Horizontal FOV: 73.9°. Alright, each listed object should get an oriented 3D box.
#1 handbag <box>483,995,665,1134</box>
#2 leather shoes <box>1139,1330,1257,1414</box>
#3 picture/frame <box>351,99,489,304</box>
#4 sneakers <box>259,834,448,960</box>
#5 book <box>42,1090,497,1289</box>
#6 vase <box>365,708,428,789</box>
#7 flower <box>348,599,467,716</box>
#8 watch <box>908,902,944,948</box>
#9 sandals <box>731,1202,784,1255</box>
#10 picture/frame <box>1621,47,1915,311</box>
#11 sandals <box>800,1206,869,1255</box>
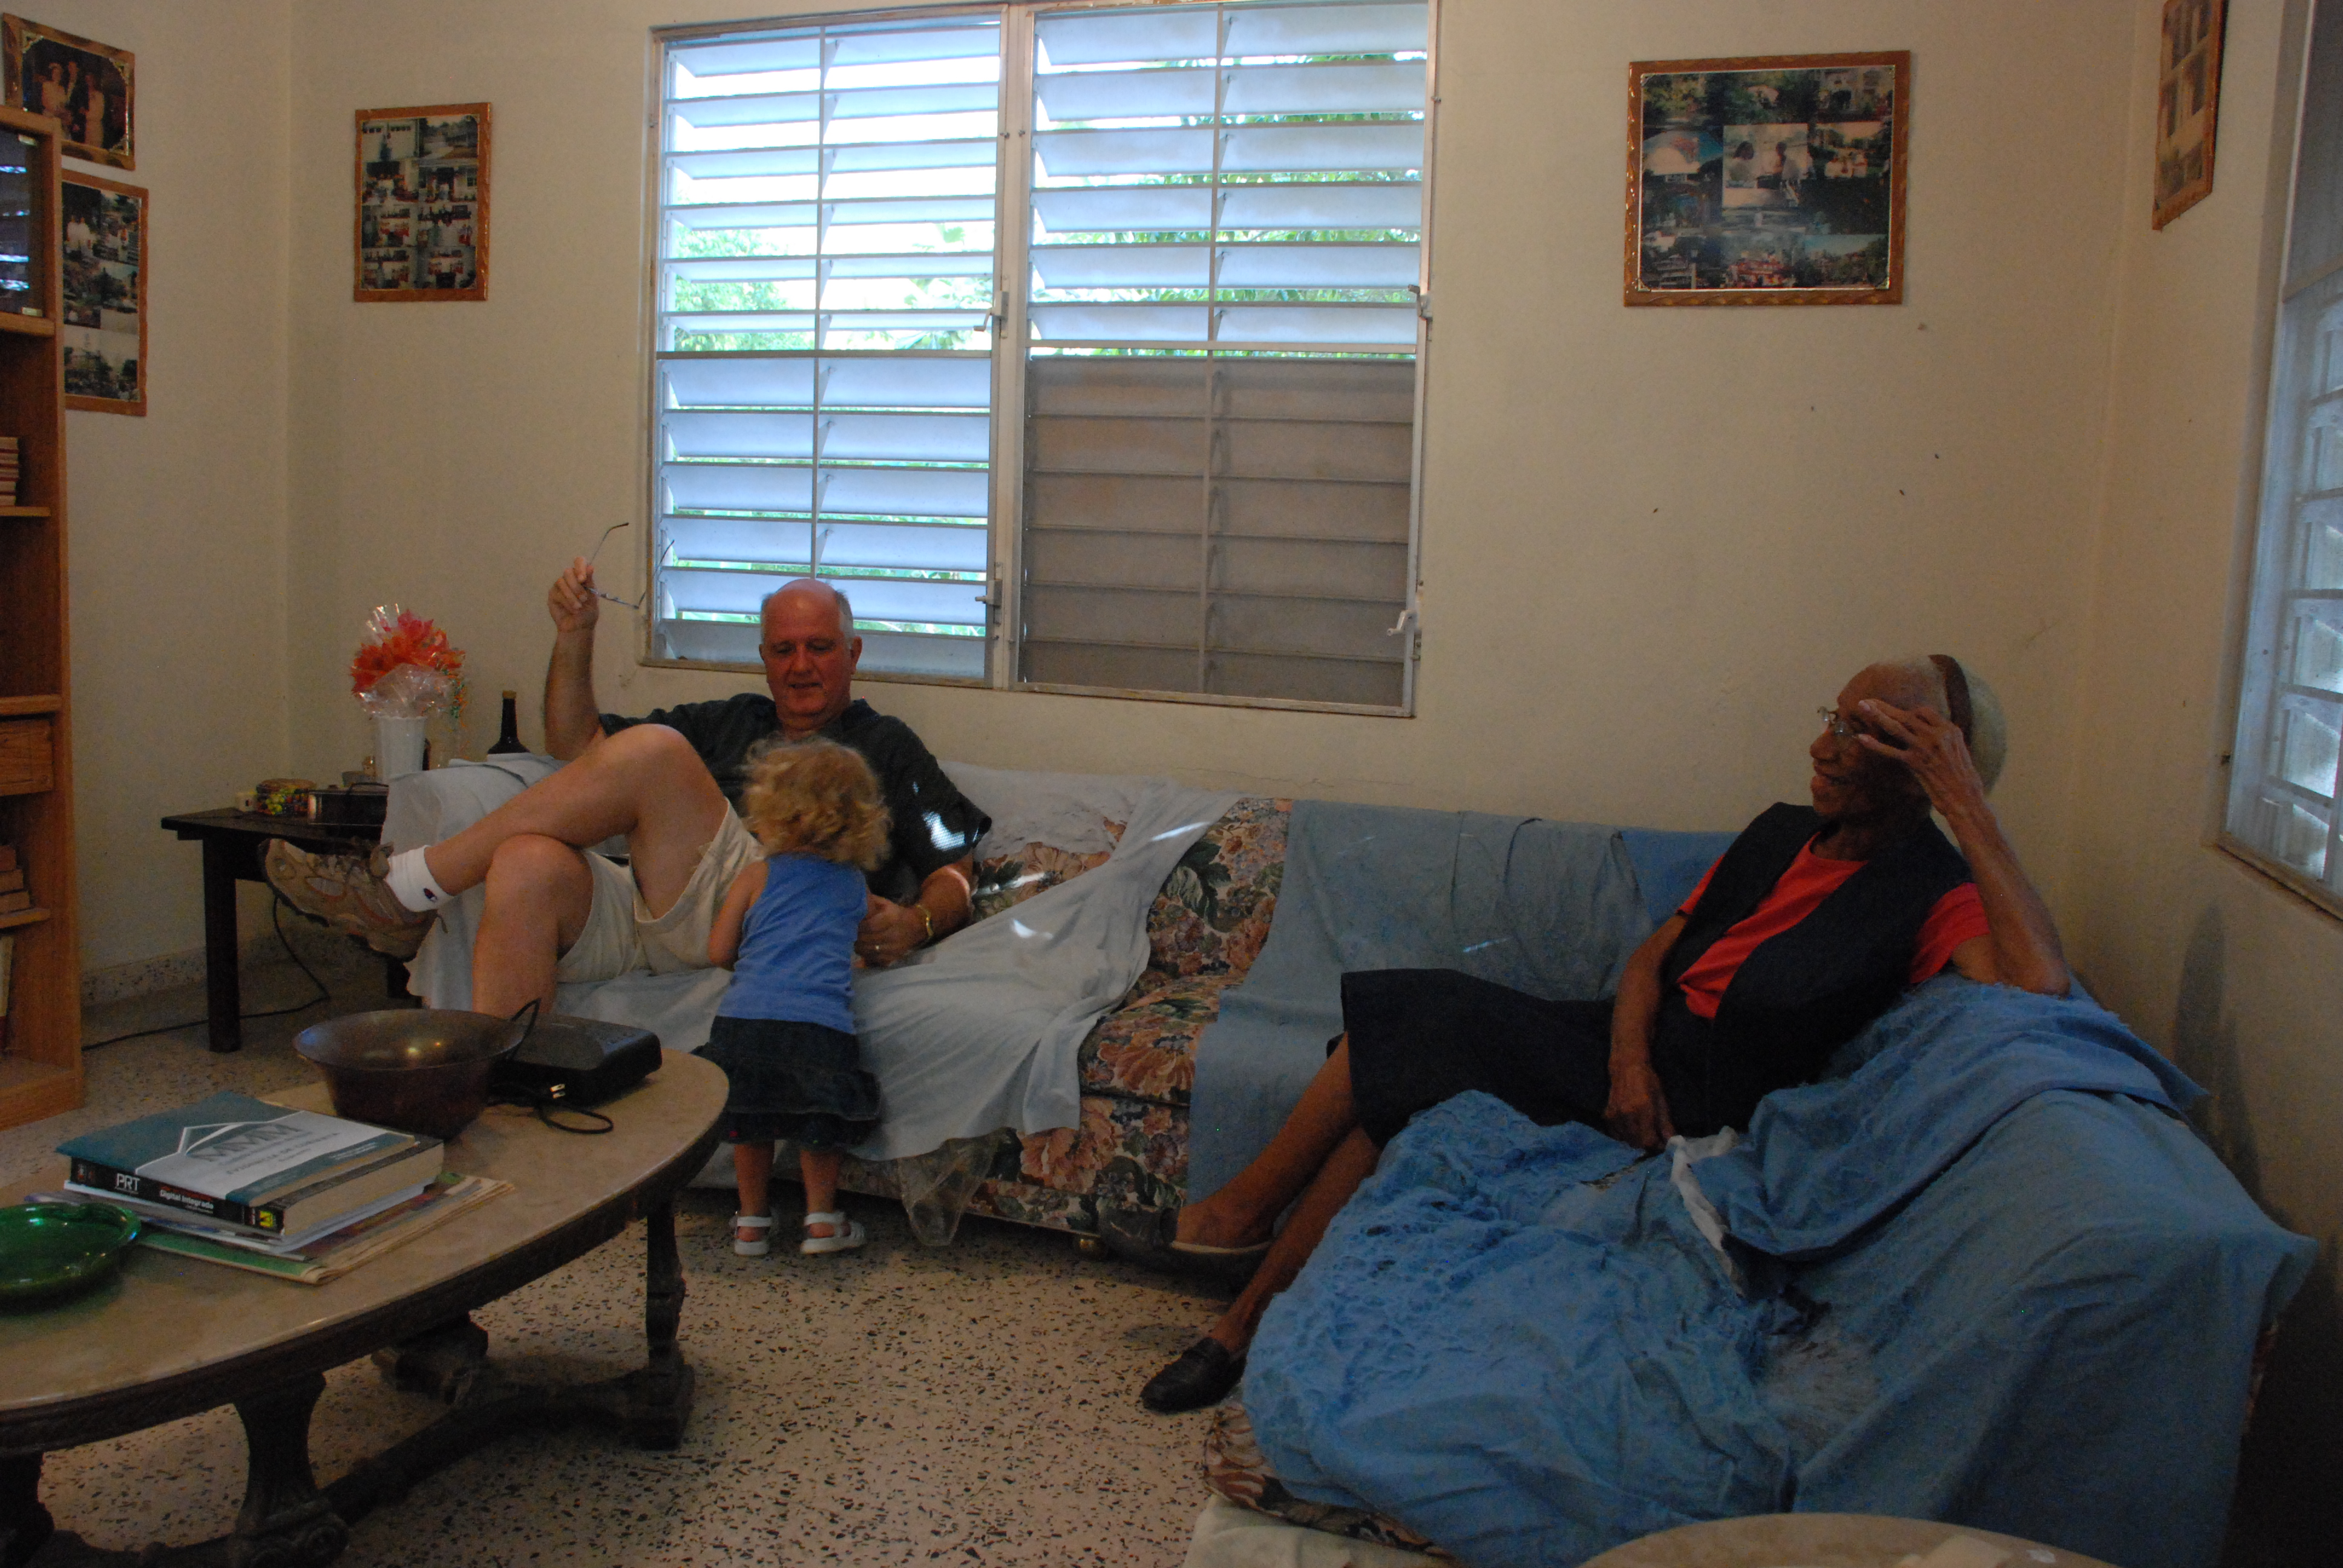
[{"bbox_3d":[-0.995,0.453,2.621,0.205,0.072,0.191,7,14,21],"label":"handbag"},{"bbox_3d":[0.058,1.059,2.817,0.086,0.084,0.236,11,12,41],"label":"leather shoes"},{"bbox_3d":[-2.077,-1.653,4.353,0.588,0.659,0.031,2,2,14],"label":"picture/frame"},{"bbox_3d":[-1.917,0.252,3.660,0.458,0.221,0.169,23,27,-38],"label":"sneakers"},{"bbox_3d":[-1.303,0.575,2.228,0.321,0.072,0.294,8,8,24],"label":"book"},{"bbox_3d":[-1.967,-0.093,3.981,0.189,0.218,0.167,-3,10,-36],"label":"vase"},{"bbox_3d":[-2.018,-0.340,4.161,0.270,0.296,0.262,17,18,30],"label":"flower"},{"bbox_3d":[-0.541,0.311,3.454,0.032,0.086,0.066,-14,-6,31],"label":"watch"},{"bbox_3d":[-0.837,0.905,3.166,0.059,0.047,0.109,1,13,-4],"label":"sandals"},{"bbox_3d":[1.391,-1.407,3.572,0.648,0.526,0.043,2,9,10],"label":"picture/frame"},{"bbox_3d":[-0.687,0.909,3.199,0.068,0.071,0.156,3,11,14],"label":"sandals"}]
